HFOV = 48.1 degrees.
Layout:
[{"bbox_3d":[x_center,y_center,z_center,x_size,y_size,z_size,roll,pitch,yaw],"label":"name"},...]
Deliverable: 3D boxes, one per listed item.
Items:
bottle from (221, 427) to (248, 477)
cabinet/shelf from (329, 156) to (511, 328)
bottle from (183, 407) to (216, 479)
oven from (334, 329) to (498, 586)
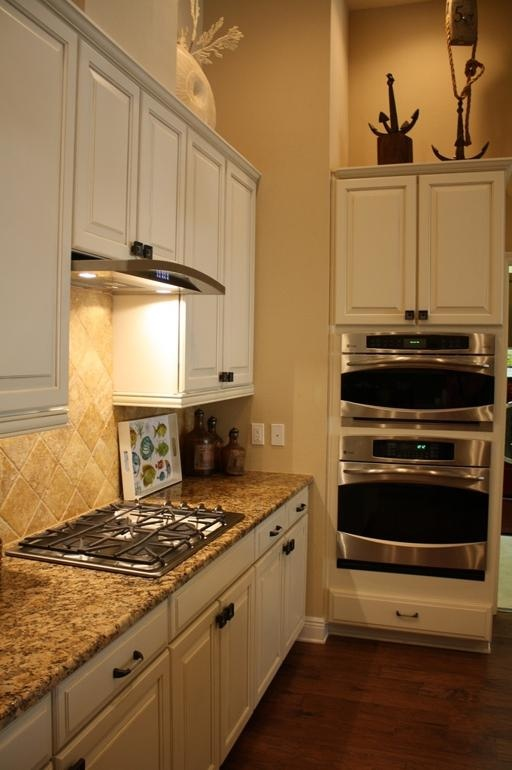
[{"bbox_3d":[-0.110,0.321,2.720,0.104,0.178,0.064,1,0,-10],"label":"bottle"},{"bbox_3d":[0.779,-0.658,2.698,0.770,0.783,0.334,0,0,15],"label":"cabinet/shelf"},{"bbox_3d":[-0.268,0.271,2.692,0.148,0.255,0.130,1,0,-4],"label":"bottle"},{"bbox_3d":[0.818,0.270,2.980,0.790,1.303,0.735,-1,14,2],"label":"oven"}]
